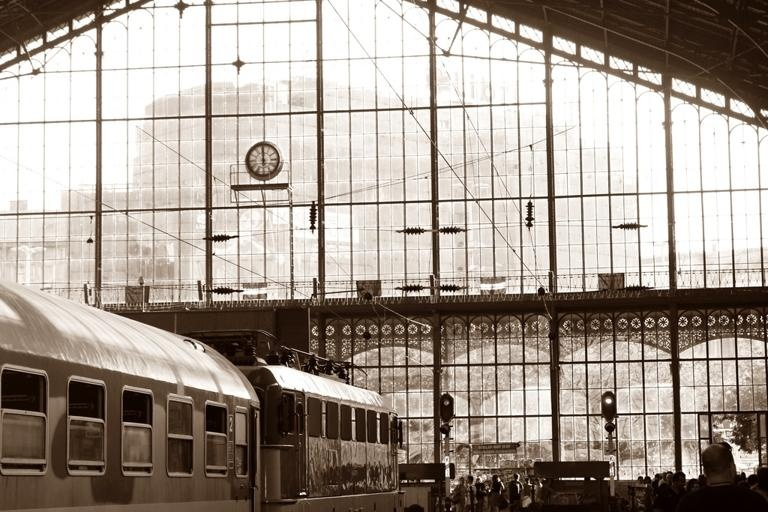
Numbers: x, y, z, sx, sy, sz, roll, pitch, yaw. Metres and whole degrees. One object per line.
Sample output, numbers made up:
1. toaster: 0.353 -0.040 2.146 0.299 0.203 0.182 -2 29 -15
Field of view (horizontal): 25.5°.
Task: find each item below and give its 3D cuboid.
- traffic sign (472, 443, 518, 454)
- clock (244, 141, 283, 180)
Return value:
1. traffic sign: 5.924 10.245 90.844 2.367 0.653 1.536 -4 -16 6
2. clock: -6.748 -5.131 94.594 1.933 2.354 0.323 0 -5 7
